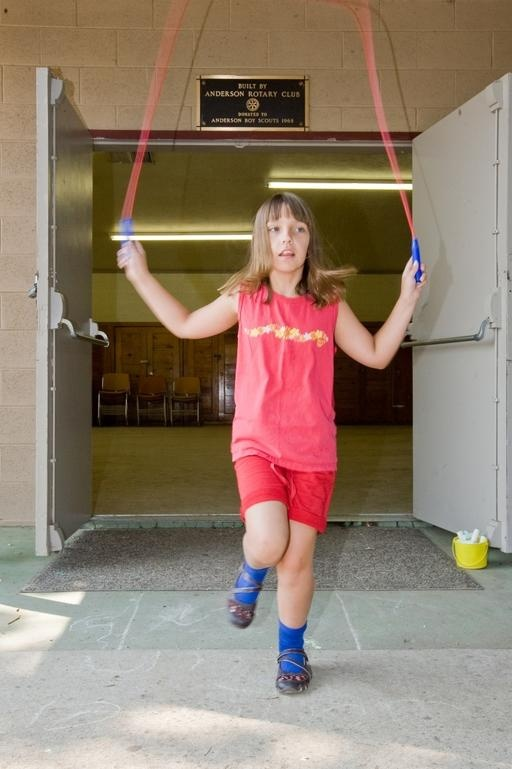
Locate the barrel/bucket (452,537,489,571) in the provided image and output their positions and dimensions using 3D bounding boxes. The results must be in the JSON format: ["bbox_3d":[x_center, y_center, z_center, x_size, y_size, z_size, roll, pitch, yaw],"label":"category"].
[{"bbox_3d":[0.855,0.678,2.838,0.134,0.093,0.124,0,7,0],"label":"barrel/bucket"}]

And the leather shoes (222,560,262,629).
[{"bbox_3d":[-0.029,0.499,1.673,0.063,0.176,0.044,12,29,5],"label":"leather shoes"}]

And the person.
[{"bbox_3d":[0.046,0.115,1.730,0.752,1.162,0.382,1,2,-11],"label":"person"}]
